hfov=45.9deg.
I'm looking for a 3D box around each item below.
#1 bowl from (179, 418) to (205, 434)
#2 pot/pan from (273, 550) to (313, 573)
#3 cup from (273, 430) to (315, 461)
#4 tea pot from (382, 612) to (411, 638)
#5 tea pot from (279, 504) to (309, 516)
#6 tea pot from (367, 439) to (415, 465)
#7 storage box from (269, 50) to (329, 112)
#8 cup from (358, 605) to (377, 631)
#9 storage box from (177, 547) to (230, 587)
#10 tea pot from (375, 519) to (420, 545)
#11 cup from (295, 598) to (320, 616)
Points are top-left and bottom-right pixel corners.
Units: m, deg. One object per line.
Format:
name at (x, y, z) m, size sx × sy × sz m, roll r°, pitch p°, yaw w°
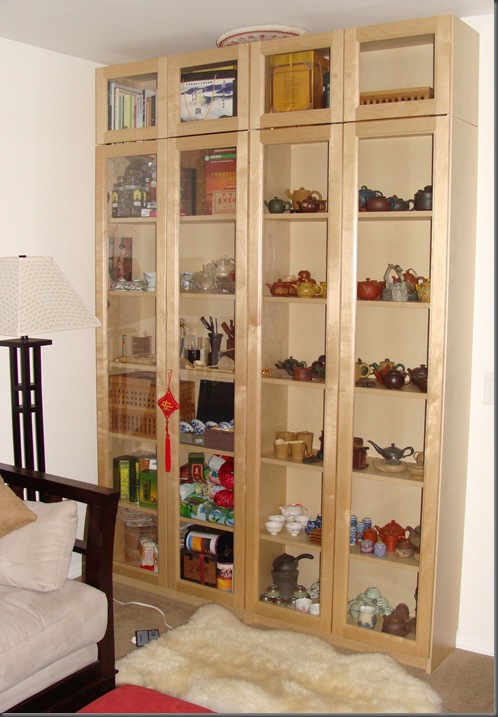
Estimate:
bowl at (-0.272, 0.329, 2.856) m, size 0.141 × 0.068 × 0.051 m, roll 8°, pitch 7°, yaw 28°
pot/pan at (0.200, 0.918, 2.662) m, size 0.160 × 0.082 × 0.091 m, roll 2°, pitch 2°, yaw 14°
cup at (0.189, 0.389, 2.594) m, size 0.108 × 0.117 × 0.168 m, roll -2°, pitch -9°, yaw 22°
tea pot at (0.598, 1.076, 2.376) m, size 0.101 × 0.083 × 0.065 m, roll 11°, pitch -9°, yaw 14°
tea pot at (0.207, 0.664, 2.661) m, size 0.086 × 0.059 × 0.059 m, roll 6°, pitch 5°, yaw 29°
tea pot at (0.578, 0.371, 2.367) m, size 0.129 × 0.058 × 0.066 m, roll 11°, pitch 9°, yaw 33°
storage box at (0.241, -1.126, 2.526) m, size 0.245 × 0.253 × 0.246 m, roll 3°, pitch 7°, yaw 27°
cup at (0.493, 1.067, 2.437) m, size 0.090 × 0.088 × 0.070 m, roll 1°, pitch 2°, yaw 29°
storage box at (-0.225, 1.017, 2.865) m, size 0.216 × 0.160 × 0.134 m, roll 9°, pitch -3°, yaw 13°
tea pot at (0.609, 0.689, 2.370) m, size 0.136 × 0.094 × 0.072 m, roll 4°, pitch 8°, yaw 35°
cup at (0.259, 1.091, 2.601) m, size 0.067 × 0.042 × 0.067 m, roll 2°, pitch 2°, yaw 0°
